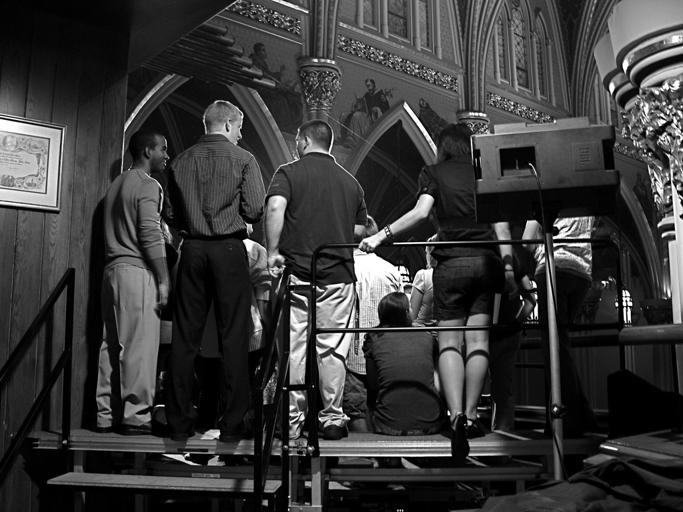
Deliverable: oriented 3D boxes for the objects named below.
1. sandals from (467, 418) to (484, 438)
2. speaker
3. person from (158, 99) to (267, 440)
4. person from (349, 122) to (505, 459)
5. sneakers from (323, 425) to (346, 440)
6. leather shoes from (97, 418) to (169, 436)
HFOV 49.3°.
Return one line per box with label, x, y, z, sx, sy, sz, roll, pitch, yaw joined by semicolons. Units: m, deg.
sandals;0.985;1.236;5.370;0.087;0.137;0.252;-3;-7;28
speaker;1.335;-0.567;4.876;0.674;0.851;0.372;-2;-2;5
person;-0.921;0.049;5.400;0.707;2.505;0.428;1;-6;-13
person;0.785;0.206;5.465;0.848;2.560;0.679;0;-6;2
sneakers;-0.051;1.270;5.394;0.191;0.108;0.175;0;-6;-1
leather shoes;-1.510;1.242;5.387;0.305;0.162;0.113;3;-11;-21
